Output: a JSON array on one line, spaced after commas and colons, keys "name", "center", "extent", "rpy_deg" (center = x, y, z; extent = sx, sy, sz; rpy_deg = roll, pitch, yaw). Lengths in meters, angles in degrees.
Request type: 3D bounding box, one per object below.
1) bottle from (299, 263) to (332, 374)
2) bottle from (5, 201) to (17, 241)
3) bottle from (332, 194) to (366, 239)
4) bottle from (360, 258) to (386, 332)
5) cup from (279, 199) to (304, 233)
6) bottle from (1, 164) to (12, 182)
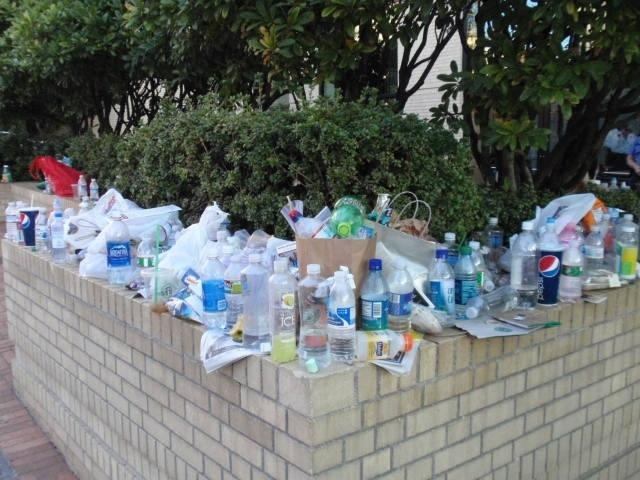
[{"name": "bottle", "center": [-0.034, 0.486, 5.110], "extent": [0.206, 0.621, 0.252], "rpy_deg": [2, 7, 0]}, {"name": "bottle", "center": [-2.886, -0.174, 7.540], "extent": [0.099, 0.355, 0.487], "rpy_deg": [-1, 8, -21]}, {"name": "bottle", "center": [0.191, -0.154, 5.467], "extent": [0.219, 0.263, 0.299], "rpy_deg": [8, 9, 37]}, {"name": "bottle", "center": [0.357, 0.366, 5.303], "extent": [0.189, 0.457, 0.160], "rpy_deg": [3, 7, 7]}, {"name": "cup", "center": [-0.211, -0.175, 5.964], "extent": [0.140, 0.211, 0.351], "rpy_deg": [-6, 35, -9]}, {"name": "bottle", "center": [-6.692, -1.412, 17.195], "extent": [0.216, 0.355, 0.708], "rpy_deg": [-1, 8, -21]}]
